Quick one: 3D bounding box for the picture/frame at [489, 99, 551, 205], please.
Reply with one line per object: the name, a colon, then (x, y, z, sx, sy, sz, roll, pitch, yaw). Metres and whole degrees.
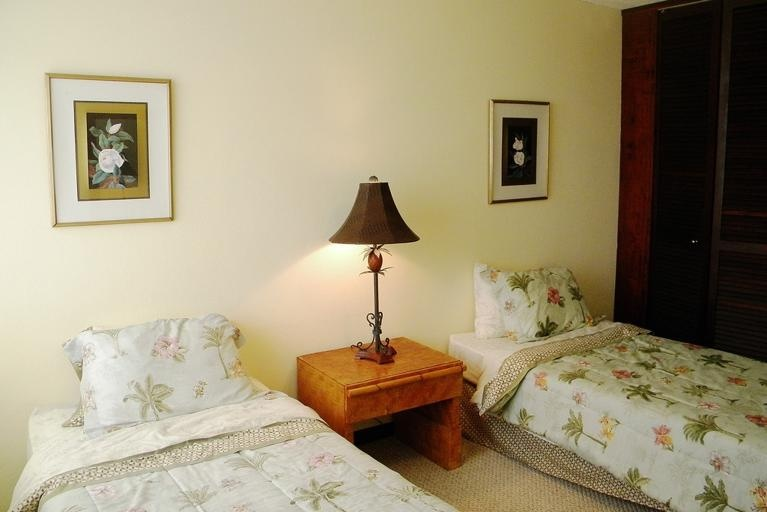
picture/frame: (1.019, -0.820, 4.090, 0.746, 0.960, 0.062, -7, 13, -27)

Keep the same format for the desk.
desk: (-0.031, 1.028, 3.474, 0.875, 0.722, 0.694, -4, 9, -35)

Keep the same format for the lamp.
lamp: (-0.079, 0.070, 3.430, 0.509, 1.146, 0.447, -6, 13, -19)

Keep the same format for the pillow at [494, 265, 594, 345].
pillow: (1.097, 0.356, 3.922, 0.784, 0.476, 0.215, -12, -15, -28)
